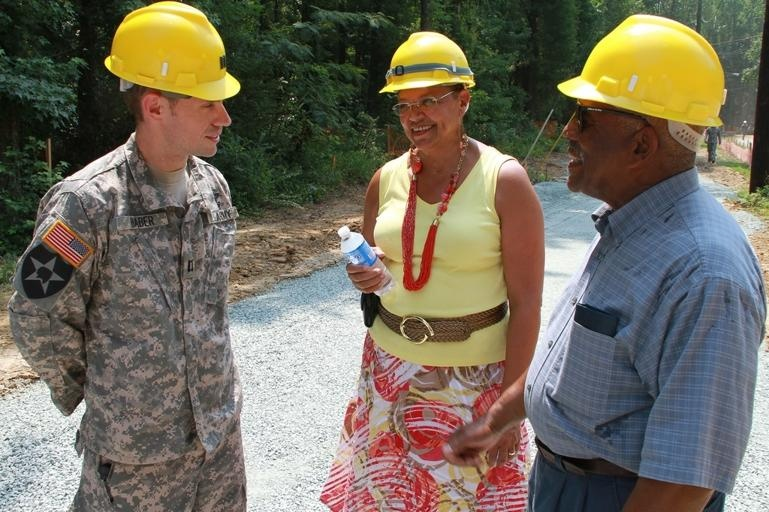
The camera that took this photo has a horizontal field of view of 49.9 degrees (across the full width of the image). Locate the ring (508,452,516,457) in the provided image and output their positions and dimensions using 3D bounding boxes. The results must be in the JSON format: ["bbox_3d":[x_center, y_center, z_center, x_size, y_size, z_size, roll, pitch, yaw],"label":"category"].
[{"bbox_3d":[0.676,1.047,4.358,0.033,0.007,0.032,-10,-24,-4],"label":"ring"}]

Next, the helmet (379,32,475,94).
[{"bbox_3d":[0.228,-1.050,4.457,0.441,0.236,0.344,-12,15,-42],"label":"helmet"}]

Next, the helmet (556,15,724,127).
[{"bbox_3d":[1.151,-0.826,3.755,0.653,0.327,0.511,22,13,5],"label":"helmet"}]

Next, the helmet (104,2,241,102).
[{"bbox_3d":[-1.056,-1.066,4.277,0.642,0.380,0.466,9,23,3],"label":"helmet"}]

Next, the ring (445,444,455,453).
[{"bbox_3d":[0.327,0.981,4.204,0.040,0.038,0.010,22,4,17],"label":"ring"}]
